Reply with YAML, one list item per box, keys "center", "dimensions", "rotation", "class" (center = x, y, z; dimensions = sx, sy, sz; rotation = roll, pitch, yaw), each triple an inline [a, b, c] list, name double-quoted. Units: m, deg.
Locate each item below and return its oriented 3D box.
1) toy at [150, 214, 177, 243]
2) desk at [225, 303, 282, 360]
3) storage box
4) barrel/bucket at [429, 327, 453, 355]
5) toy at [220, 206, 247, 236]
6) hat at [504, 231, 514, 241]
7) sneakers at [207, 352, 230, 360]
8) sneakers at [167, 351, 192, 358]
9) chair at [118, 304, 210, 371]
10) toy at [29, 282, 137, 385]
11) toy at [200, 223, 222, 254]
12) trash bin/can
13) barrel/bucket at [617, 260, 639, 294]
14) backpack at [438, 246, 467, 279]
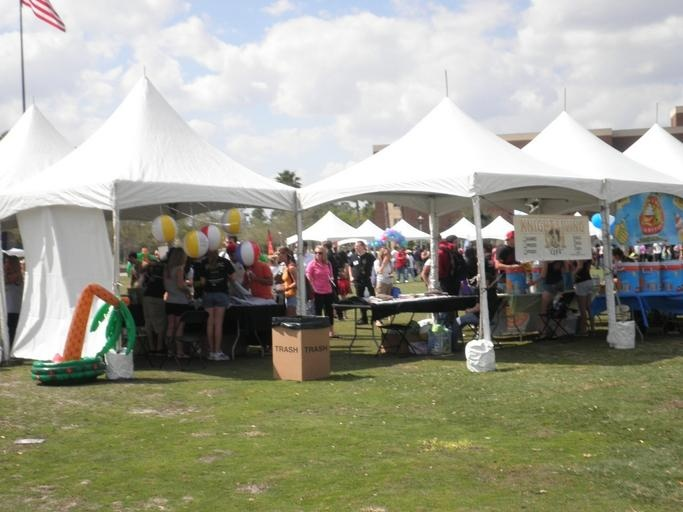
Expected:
- center: [-2.779, -0.428, 12.607]
  dimensions: [0.351, 0.460, 0.481]
  rotation: [1, 8, 7]
  class: "toy"
- center: [-1.419, 1.187, 13.089]
  dimensions: [0.918, 0.666, 0.903]
  rotation: [-1, 1, -11]
  class: "desk"
- center: [-0.569, 1.272, 11.368]
  dimensions: [0.882, 0.982, 0.843]
  rotation: [0, -2, -24]
  class: "storage box"
- center: [1.571, 1.334, 12.983]
  dimensions: [0.334, 0.427, 0.514]
  rotation: [5, 9, 32]
  class: "barrel/bucket"
- center: [-1.846, -0.581, 13.644]
  dimensions: [0.413, 0.479, 0.391]
  rotation: [-1, 6, -15]
  class: "toy"
- center: [2.977, -0.385, 14.180]
  dimensions: [0.169, 0.126, 0.239]
  rotation: [-7, 10, -41]
  class: "hat"
- center: [-1.963, 1.576, 12.764]
  dimensions: [0.316, 0.130, 0.124]
  rotation: [3, -3, -15]
  class: "sneakers"
- center: [-2.560, 1.561, 12.742]
  dimensions: [0.349, 0.135, 0.198]
  rotation: [4, -7, 1]
  class: "sneakers"
- center: [-2.665, 1.312, 12.618]
  dimensions: [1.071, 1.357, 1.078]
  rotation: [-5, -10, 36]
  class: "chair"
- center: [-3.750, 1.167, 11.503]
  dimensions: [1.580, 1.448, 1.149]
  rotation: [-1, -5, -10]
  class: "toy"
- center: [-2.048, -0.331, 12.884]
  dimensions: [0.378, 0.431, 0.386]
  rotation: [-1, 0, -7]
  class: "toy"
- center: [-0.566, 1.276, 11.341]
  dimensions: [0.890, 0.977, 0.841]
  rotation: [0, -3, -15]
  class: "trash bin/can"
- center: [4.887, 0.344, 13.723]
  dimensions: [0.478, 0.503, 0.472]
  rotation: [0, 0, 0]
  class: "barrel/bucket"
- center: [1.870, 0.136, 13.851]
  dimensions: [0.471, 0.662, 0.644]
  rotation: [-5, -5, 39]
  class: "backpack"
